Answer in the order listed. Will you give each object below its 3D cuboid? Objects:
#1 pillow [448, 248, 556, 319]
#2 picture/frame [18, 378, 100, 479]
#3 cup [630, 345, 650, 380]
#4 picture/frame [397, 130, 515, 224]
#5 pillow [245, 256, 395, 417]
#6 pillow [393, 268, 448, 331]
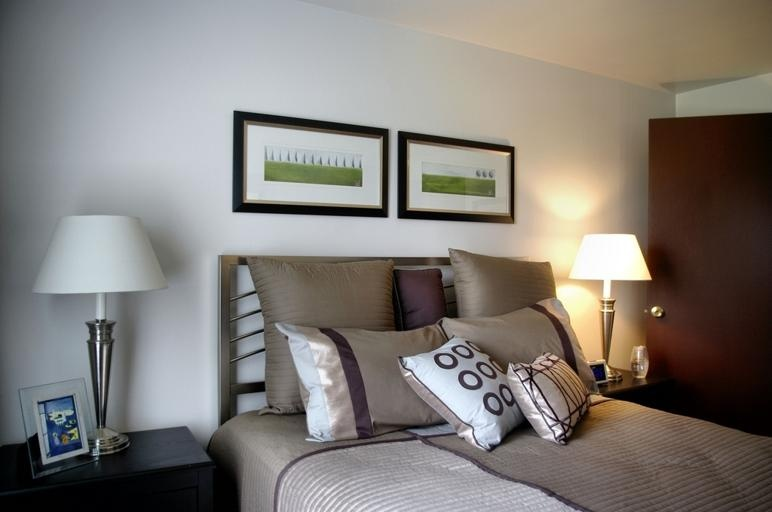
[{"bbox_3d":[0.827,0.243,3.707,0.772,0.527,0.275,7,-19,-24],"label":"pillow"},{"bbox_3d":[-1.573,0.837,2.715,0.408,0.588,0.042,1,-16,-46],"label":"picture/frame"},{"bbox_3d":[1.820,0.760,4.094,0.125,0.225,0.129,-1,2,0],"label":"cup"},{"bbox_3d":[0.432,-0.533,3.853,0.656,0.418,0.024,1,0,-26],"label":"picture/frame"},{"bbox_3d":[-0.319,0.441,3.257,0.859,0.863,0.315,-3,-3,-19],"label":"pillow"},{"bbox_3d":[0.186,0.275,3.404,0.268,0.354,0.136,-10,-21,-9],"label":"pillow"}]
